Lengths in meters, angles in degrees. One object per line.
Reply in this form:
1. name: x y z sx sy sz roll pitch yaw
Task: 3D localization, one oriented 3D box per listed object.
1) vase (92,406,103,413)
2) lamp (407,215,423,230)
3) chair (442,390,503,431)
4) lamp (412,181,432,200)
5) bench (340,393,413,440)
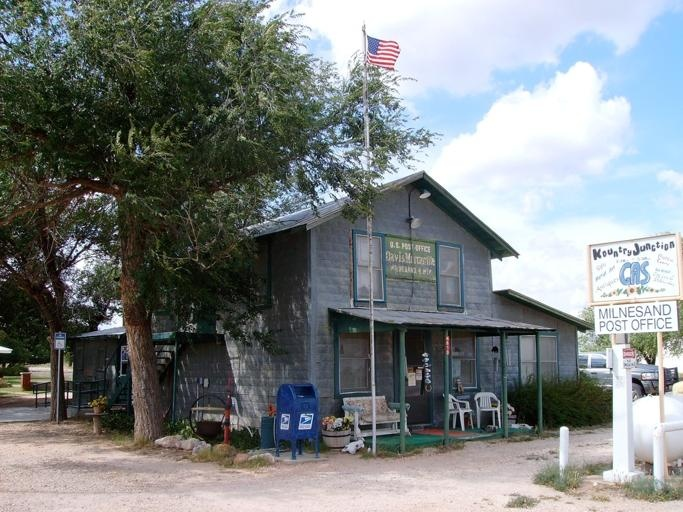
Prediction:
1. vase: -7.858 4.944 21.399 0.316 0.251 0.338 3 -8 -15
2. lamp: 2.320 -1.072 21.044 0.433 0.338 0.473 21 5 -45
3. chair: 4.002 4.843 20.756 1.357 0.896 0.542 11 -18 -36
4. lamp: 2.651 -2.082 21.462 0.428 0.502 0.700 -3 -5 33
5. bench: 0.904 4.531 18.693 2.015 1.116 1.077 4 -6 -40
